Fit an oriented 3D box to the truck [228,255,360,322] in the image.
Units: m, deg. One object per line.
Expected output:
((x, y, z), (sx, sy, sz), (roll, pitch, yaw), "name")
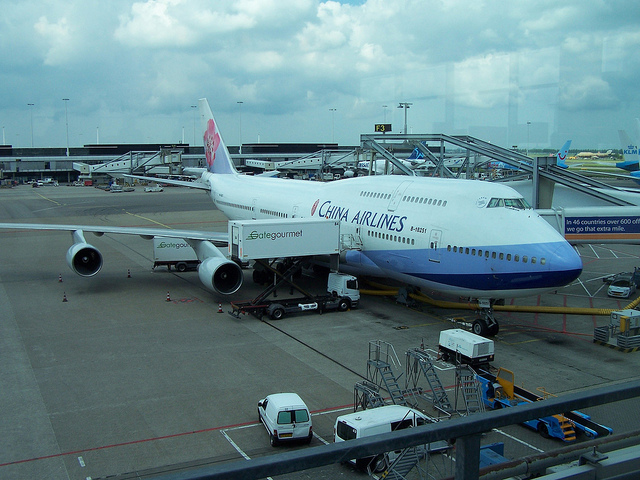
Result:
((-1.237, 1.831, 26.542), (6.034, 2.080, 1.871), (-3, 9, -34), "truck")

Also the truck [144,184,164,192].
((-24.576, -7.811, 92.613), (3.532, 1.033, 1.641), (-2, 10, -18), "truck")

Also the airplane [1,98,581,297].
((-1.690, -3.627, 31.914), (9.498, 9.305, 28.425), (-7, 10, -23), "airplane")
